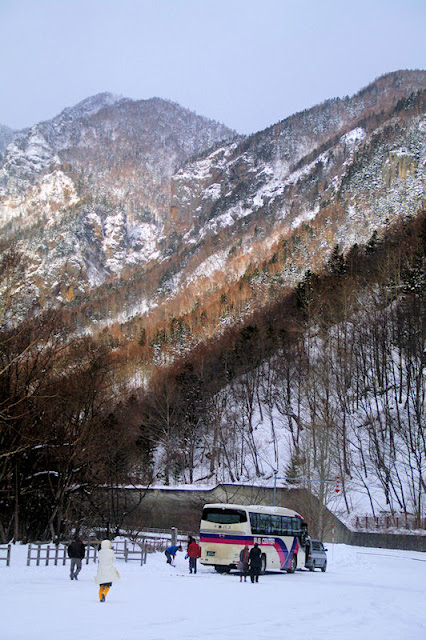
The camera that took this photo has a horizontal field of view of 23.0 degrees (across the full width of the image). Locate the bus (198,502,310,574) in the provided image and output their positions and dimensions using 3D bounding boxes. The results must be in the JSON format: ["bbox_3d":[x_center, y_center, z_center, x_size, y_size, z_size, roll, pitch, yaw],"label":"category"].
[{"bbox_3d":[1.860,9.211,45.208,2.103,3.615,5.818,-4,-8,36],"label":"bus"}]

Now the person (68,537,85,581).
[{"bbox_3d":[-4.707,8.184,35.804,0.373,1.609,0.468,-2,-29,6],"label":"person"}]

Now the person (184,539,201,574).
[{"bbox_3d":[-0.820,9.500,41.807,0.505,1.295,1.032,-10,5,6],"label":"person"}]

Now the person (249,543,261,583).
[{"bbox_3d":[1.589,9.280,39.408,0.407,1.765,0.548,0,-48,5],"label":"person"}]
